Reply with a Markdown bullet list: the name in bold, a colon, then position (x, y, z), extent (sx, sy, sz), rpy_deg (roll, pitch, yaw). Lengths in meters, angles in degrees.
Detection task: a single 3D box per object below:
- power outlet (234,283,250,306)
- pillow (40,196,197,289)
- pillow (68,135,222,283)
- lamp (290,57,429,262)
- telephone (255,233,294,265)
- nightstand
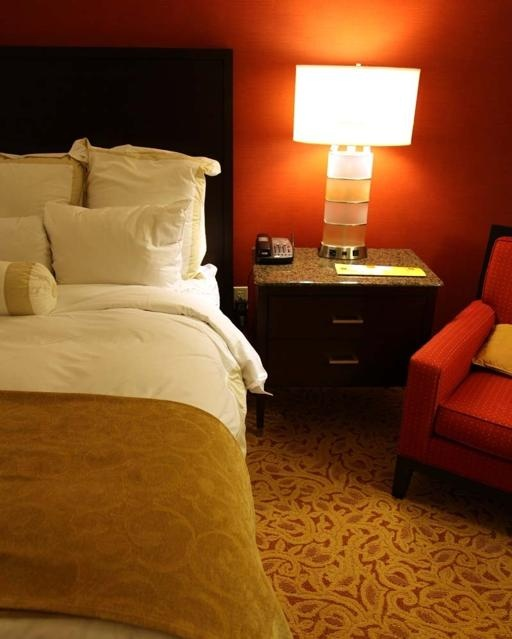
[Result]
- **power outlet**: position (-0.078, -0.132, 2.736), extent (0.123, 0.136, 0.019), rpy_deg (-2, 11, -9)
- **pillow**: position (-0.545, -0.293, 1.968), extent (0.411, 0.256, 0.123), rpy_deg (-1, -7, -2)
- **pillow**: position (-0.483, -0.463, 2.123), extent (0.671, 0.611, 0.250), rpy_deg (3, -22, -5)
- **lamp**: position (0.311, -0.848, 2.543), extent (0.718, 1.076, 0.711), rpy_deg (4, 30, 4)
- **telephone**: position (0.093, -0.312, 2.367), extent (0.152, 0.063, 0.194), rpy_deg (-1, 34, -1)
- **nightstand**: position (0.346, 0.150, 2.640), extent (0.999, 0.894, 0.688), rpy_deg (-1, 29, -3)
